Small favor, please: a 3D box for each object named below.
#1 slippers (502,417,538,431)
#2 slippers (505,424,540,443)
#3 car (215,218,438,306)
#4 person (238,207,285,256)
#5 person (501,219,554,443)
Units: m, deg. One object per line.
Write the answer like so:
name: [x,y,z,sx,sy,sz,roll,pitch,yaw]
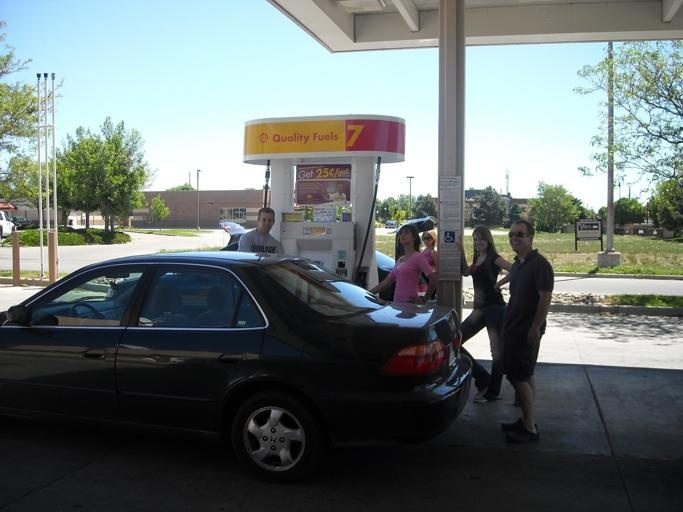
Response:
slippers: [1.841,1.756,5.852,0.410,0.180,0.152,1,0,-1]
slippers: [1.850,1.778,5.610,0.378,0.157,0.141,0,2,-3]
car: [-0.971,-0.168,12.979,5.367,1.881,2.483,0,3,38]
person: [-1.086,-0.269,7.876,0.723,0.808,0.378,12,-12,-37]
person: [1.900,0.728,5.732,0.457,2.198,0.669,1,4,17]
